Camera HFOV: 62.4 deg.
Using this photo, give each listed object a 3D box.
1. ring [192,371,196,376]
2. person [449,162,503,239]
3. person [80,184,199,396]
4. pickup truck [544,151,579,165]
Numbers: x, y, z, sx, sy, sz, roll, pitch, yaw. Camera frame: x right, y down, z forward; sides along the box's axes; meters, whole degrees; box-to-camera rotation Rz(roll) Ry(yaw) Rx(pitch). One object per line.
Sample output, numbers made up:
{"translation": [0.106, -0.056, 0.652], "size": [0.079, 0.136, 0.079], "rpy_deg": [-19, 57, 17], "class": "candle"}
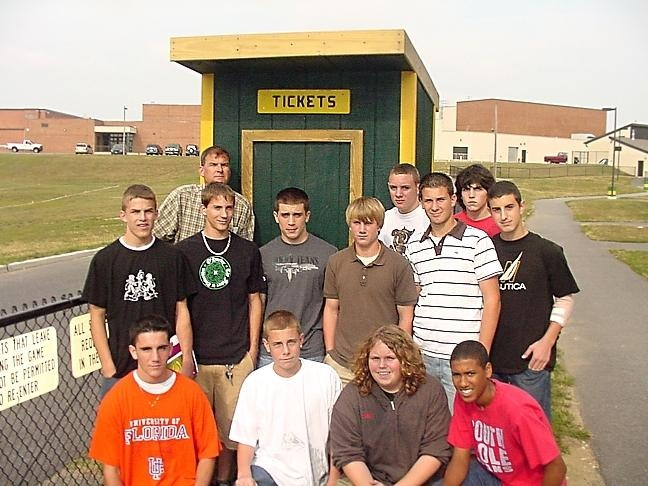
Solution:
{"translation": [-1.200, 1.209, 4.956], "size": [0.009, 0.036, 0.035], "rpy_deg": [6, 2, 35], "class": "ring"}
{"translation": [1.665, -0.479, 5.875], "size": [0.454, 0.834, 0.452], "rpy_deg": [9, 14, 39], "class": "person"}
{"translation": [-1.683, 0.911, 4.858], "size": [0.998, 2.741, 0.713], "rpy_deg": [2, 8, -14], "class": "person"}
{"translation": [36.811, -13.229, 83.613], "size": [4.423, 1.718, 7.662], "rpy_deg": [5, 10, 36], "class": "pickup truck"}
